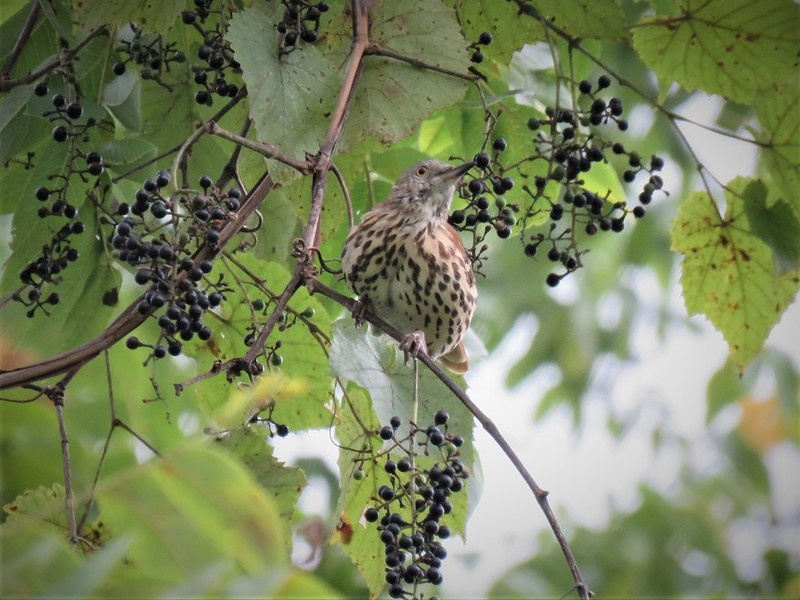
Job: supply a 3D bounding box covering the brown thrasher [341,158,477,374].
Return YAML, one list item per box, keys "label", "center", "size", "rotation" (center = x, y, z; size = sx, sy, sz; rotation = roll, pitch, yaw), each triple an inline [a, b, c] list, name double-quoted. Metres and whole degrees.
- label: "brown thrasher"
  center: [0.050, -0.205, 5.238]
  size: [0.591, 1.263, 0.894]
  rotation: [20, -88, 5]
